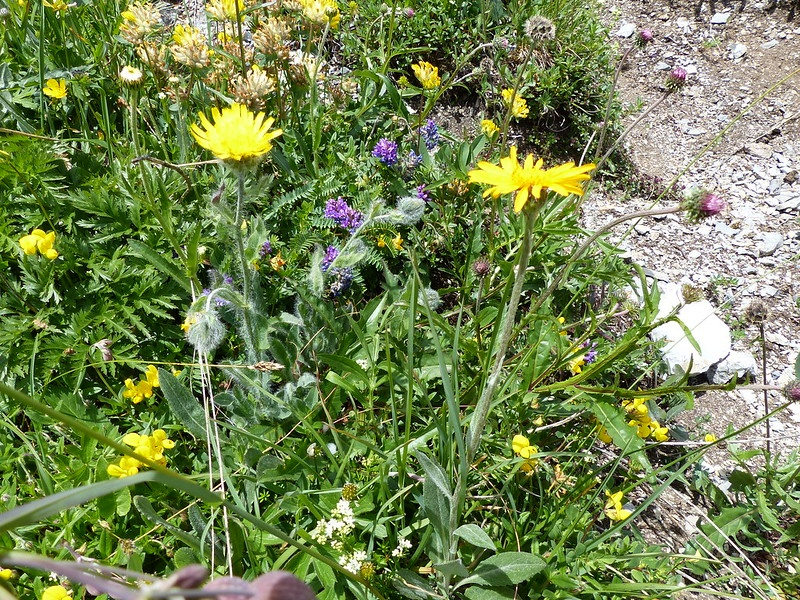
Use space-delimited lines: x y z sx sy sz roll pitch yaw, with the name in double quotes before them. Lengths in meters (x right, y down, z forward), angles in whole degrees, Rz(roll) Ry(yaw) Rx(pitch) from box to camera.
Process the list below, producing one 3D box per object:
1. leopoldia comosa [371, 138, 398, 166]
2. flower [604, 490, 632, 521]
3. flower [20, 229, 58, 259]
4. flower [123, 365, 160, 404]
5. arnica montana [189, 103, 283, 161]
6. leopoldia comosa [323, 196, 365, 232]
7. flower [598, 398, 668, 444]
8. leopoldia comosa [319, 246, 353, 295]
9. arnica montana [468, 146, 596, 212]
"leopoldia comosa" -0.084 -0.849 4.346 0.137 0.148 0.144 22 34 29
"flower" 1.084 1.040 3.708 0.074 0.160 0.164 -10 67 4
"flower" -1.760 -0.271 3.633 0.160 0.145 0.072 11 -1 -2
"flower" -1.288 0.423 3.664 0.075 0.131 0.174 49 26 -6
"arnica montana" -0.701 -0.700 3.169 0.370 0.188 0.383 -7 63 -19
"leopoldia comosa" -0.307 -0.468 4.076 0.223 0.142 0.140 32 35 11
"flower" 1.281 0.655 3.935 0.254 0.164 0.338 -23 12 -5
"leopoldia comosa" -0.355 -0.144 3.978 0.181 0.160 0.235 30 88 5
"arnica montana" 0.537 -0.412 2.972 0.398 0.120 0.407 -17 38 -16
